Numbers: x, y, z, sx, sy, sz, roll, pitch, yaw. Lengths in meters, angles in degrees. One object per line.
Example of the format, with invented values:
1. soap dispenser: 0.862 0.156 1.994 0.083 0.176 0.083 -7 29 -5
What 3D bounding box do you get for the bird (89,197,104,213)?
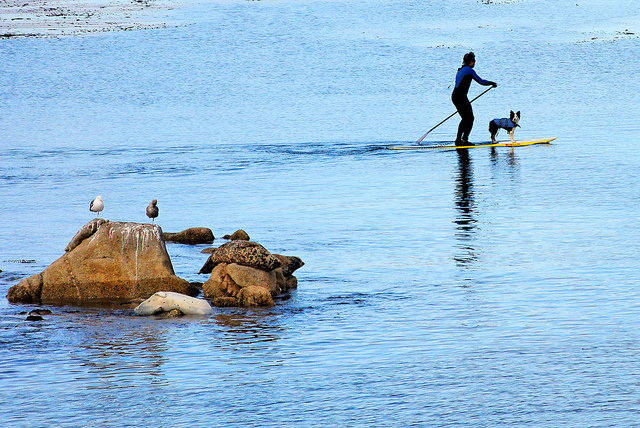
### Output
1. bird: -6.543 -0.253 39.860 0.333 0.449 0.499 -2 5 -6
